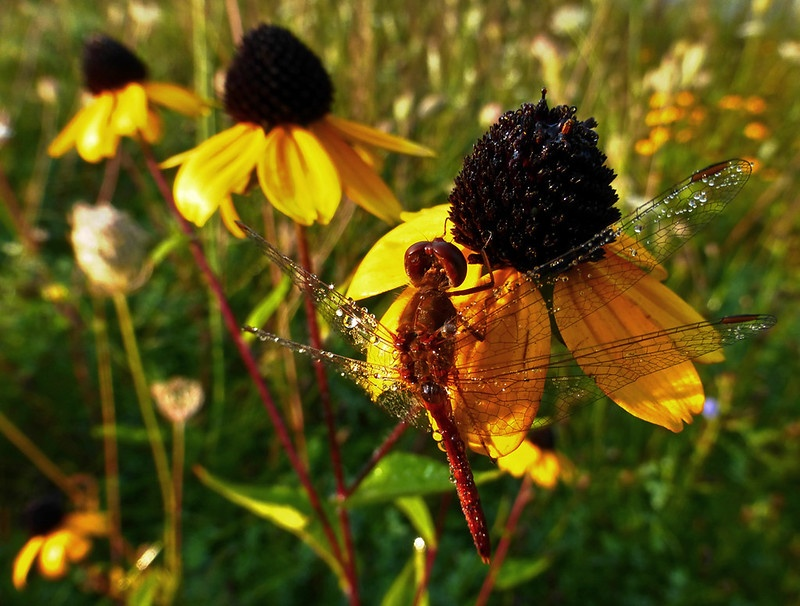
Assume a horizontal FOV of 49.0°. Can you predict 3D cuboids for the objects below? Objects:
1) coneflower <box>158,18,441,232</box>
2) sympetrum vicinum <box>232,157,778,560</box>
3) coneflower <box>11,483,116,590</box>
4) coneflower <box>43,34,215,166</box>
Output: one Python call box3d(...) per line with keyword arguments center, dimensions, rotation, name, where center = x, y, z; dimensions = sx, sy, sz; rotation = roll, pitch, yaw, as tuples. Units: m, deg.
box3d(center=(-0.333, -0.561, 2.681), dimensions=(0.725, 0.535, 0.785), rotation=(-2, 14, -1), name="coneflower")
box3d(center=(0.245, 0.130, 2.515), dimensions=(1.337, 1.111, 0.374), rotation=(-1, 12, -14), name="sympetrum vicinum")
box3d(center=(-1.069, 0.745, 2.806), dimensions=(0.324, 0.214, 0.386), rotation=(-17, 14, -5), name="coneflower")
box3d(center=(-0.803, -0.577, 2.524), dimensions=(0.360, 0.437, 0.120), rotation=(-14, -5, 6), name="coneflower")
